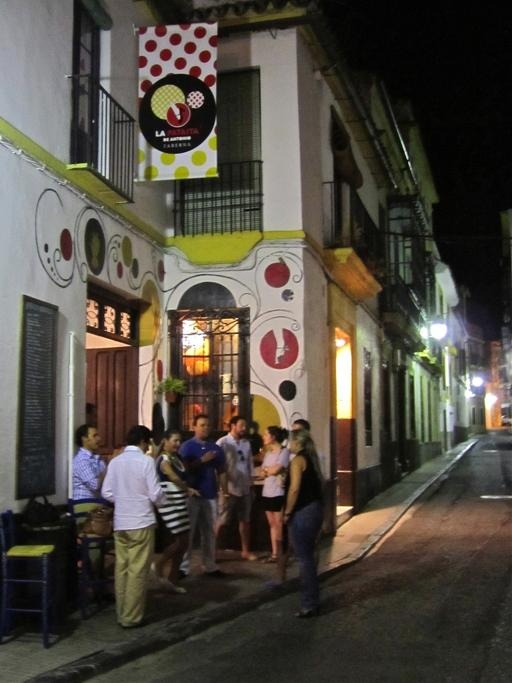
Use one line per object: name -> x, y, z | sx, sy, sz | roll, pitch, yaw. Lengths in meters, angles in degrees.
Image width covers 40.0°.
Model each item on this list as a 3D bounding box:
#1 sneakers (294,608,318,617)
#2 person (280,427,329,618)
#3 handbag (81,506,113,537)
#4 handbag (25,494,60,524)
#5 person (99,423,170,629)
sneakers -> 0.441, 2.423, 6.229 | 0.209, 0.091, 0.077 | 6, -12, -14
person -> 0.433, 1.654, 6.427 | 0.351, 1.647, 0.398 | -5, -7, 12
handbag -> -1.488, 1.718, 6.698 | 0.254, 0.230, 0.268 | -2, -4, 16
handbag -> -1.930, 1.529, 6.307 | 0.251, 0.272, 0.187 | -2, -5, 5
person -> -1.031, 1.567, 5.989 | 0.393, 1.654, 0.471 | 1, -8, -32
